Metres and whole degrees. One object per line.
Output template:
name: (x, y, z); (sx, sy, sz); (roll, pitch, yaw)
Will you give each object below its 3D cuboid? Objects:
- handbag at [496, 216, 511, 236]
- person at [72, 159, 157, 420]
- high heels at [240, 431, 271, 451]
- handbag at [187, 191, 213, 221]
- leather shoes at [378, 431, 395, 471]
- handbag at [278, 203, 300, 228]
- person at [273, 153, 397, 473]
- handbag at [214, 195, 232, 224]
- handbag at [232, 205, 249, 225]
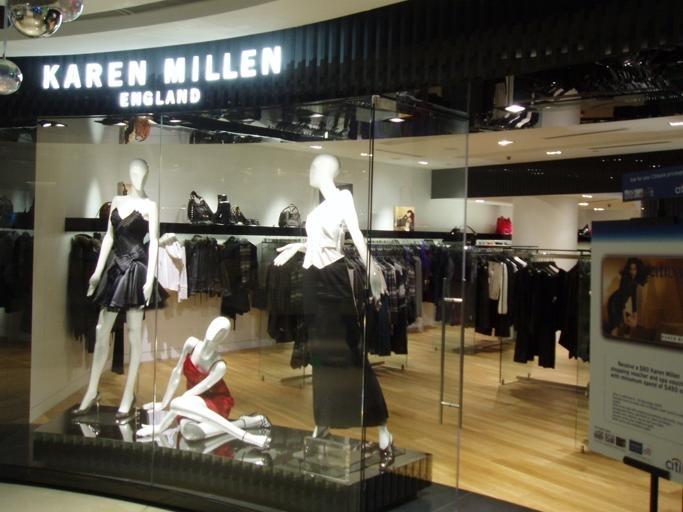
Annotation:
handbag: (2.722, -0.515, 9.382); (0.293, 0.331, 0.245); (-1, 1, 28)
person: (-1.703, 0.256, 4.301); (0.565, 2.009, 0.152); (5, 5, 15)
high heels: (-0.591, 1.303, 3.971); (0.209, 0.095, 0.054); (7, 6, 19)
handbag: (-1.039, -0.359, 4.098); (0.152, 0.226, 0.230); (-3, -7, 10)
leather shoes: (0.313, 1.322, 3.836); (0.086, 0.284, 0.095); (-2, 11, -19)
handbag: (-0.358, -0.282, 3.902); (0.153, 0.176, 0.044); (0, -4, 22)
person: (0.014, 0.288, 3.806); (0.622, 1.908, 0.214); (7, 6, 31)
handbag: (-0.849, -0.341, 4.064); (0.140, 0.210, 0.045); (6, 5, 21)
handbag: (-0.740, -0.293, 4.038); (0.113, 0.217, 0.117); (-1, -1, -21)
